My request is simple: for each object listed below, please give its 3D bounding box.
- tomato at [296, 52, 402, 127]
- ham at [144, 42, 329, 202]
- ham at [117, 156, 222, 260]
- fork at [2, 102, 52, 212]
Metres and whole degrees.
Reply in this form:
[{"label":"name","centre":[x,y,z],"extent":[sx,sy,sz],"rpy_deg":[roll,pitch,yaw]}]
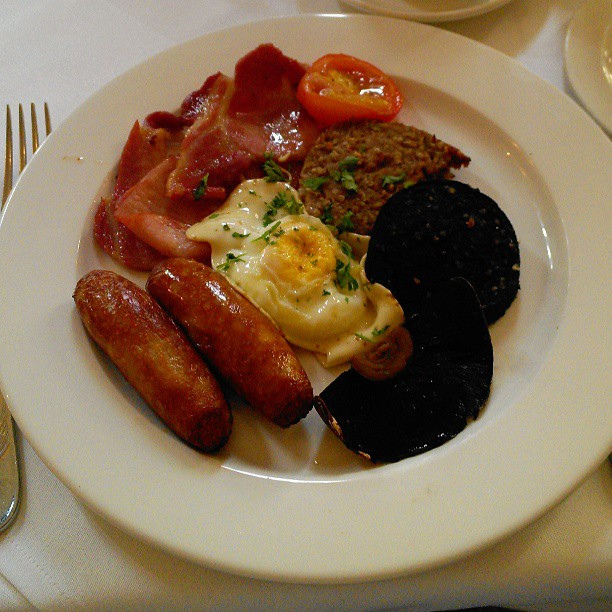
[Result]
[{"label":"tomato","centre":[0.177,-0.884,2.790],"extent":[0.286,0.133,0.356],"rpy_deg":[5,55,-13]},{"label":"ham","centre":[-0.273,-0.697,2.629],"extent":[0.550,0.188,0.793],"rpy_deg":[47,63,0]},{"label":"ham","centre":[-0.509,-0.296,2.629],"extent":[0.380,0.127,0.383],"rpy_deg":[44,63,4]},{"label":"fork","centre":[-1.114,-0.584,2.759],"extent":[0.048,0.060,0.550],"rpy_deg":[-1,67,-5]}]
